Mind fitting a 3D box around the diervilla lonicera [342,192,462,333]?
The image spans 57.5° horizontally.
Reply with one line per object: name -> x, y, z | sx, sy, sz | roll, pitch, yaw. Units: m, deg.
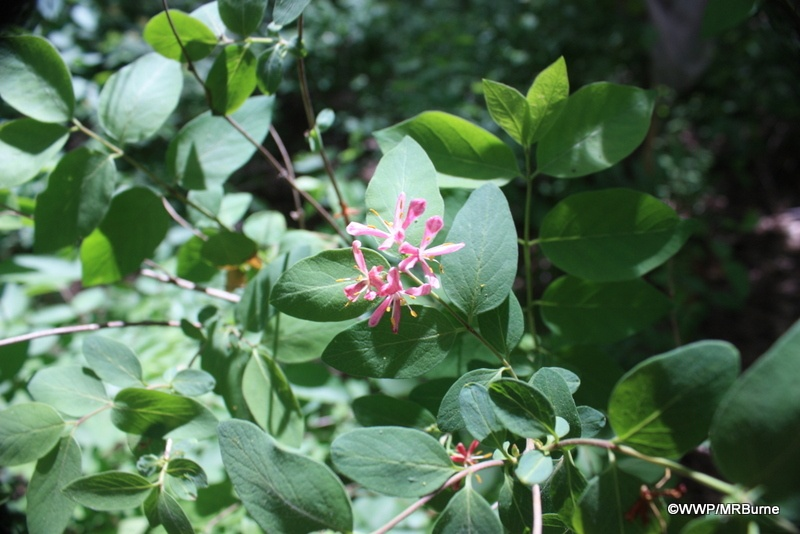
diervilla lonicera -> 0.006, -0.020, 2.510 | 0.433, 0.336, 0.283 | -18, 43, -13
